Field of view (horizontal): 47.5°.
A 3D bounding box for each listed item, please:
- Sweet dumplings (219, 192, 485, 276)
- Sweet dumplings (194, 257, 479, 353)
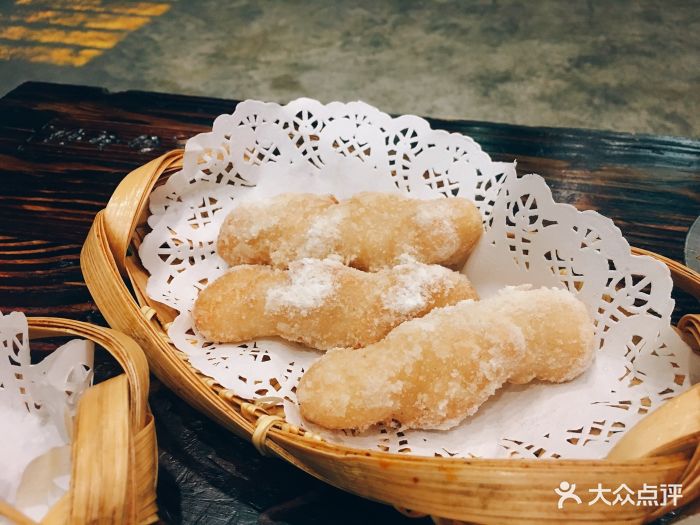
[{"bbox_3d":[-0.034,-0.055,1.336,0.481,0.170,0.129,-1,77,10],"label":"Sweet dumplings"},{"bbox_3d":[-0.009,0.062,1.265,0.475,0.122,0.159,-4,29,16],"label":"Sweet dumplings"}]
